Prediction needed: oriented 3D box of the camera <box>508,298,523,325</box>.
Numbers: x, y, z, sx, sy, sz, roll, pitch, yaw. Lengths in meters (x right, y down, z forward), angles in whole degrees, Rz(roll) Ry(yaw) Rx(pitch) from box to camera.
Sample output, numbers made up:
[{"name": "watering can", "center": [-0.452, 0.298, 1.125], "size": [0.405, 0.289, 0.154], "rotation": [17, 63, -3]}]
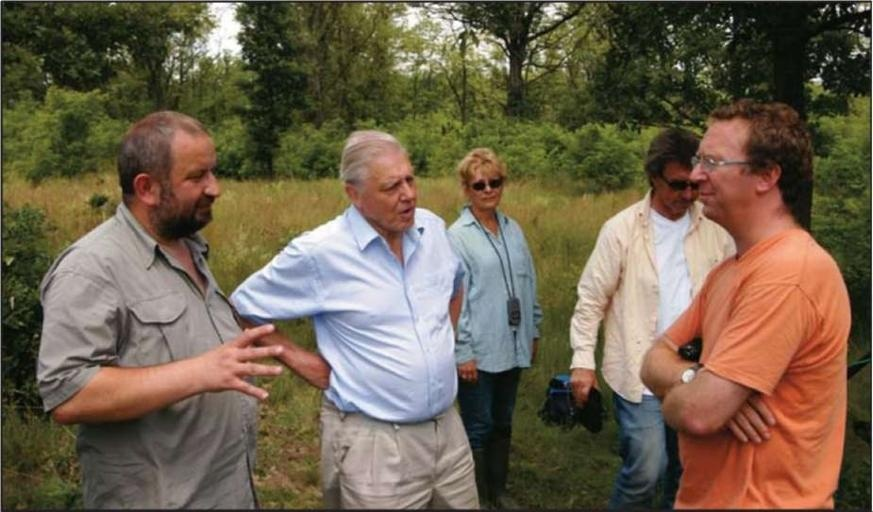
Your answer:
[{"name": "camera", "center": [0.752, 0.543, 7.022], "size": [0.144, 0.267, 0.061], "rotation": [0, 3, -8]}]

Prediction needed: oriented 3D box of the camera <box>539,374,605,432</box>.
[{"name": "camera", "center": [1.338, 1.513, 7.275], "size": [0.591, 0.216, 0.587], "rotation": [1, 45, 26]}]

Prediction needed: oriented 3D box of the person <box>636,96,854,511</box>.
[{"name": "person", "center": [2.134, 0.368, 4.979], "size": [1.195, 2.874, 0.629], "rotation": [1, 3, 27]}]
